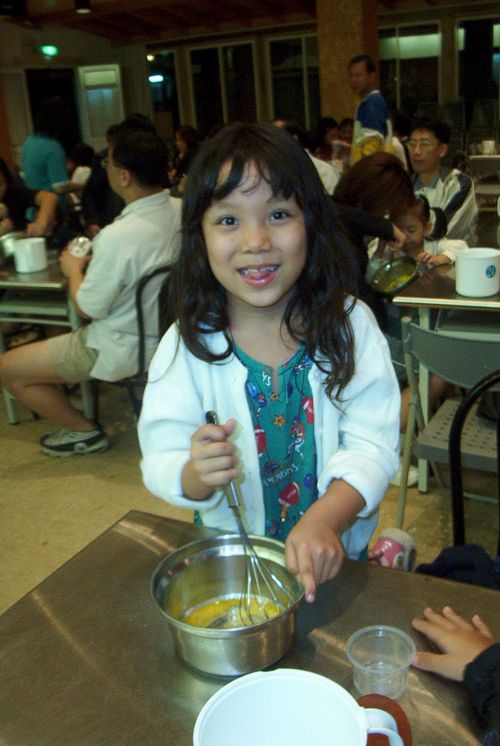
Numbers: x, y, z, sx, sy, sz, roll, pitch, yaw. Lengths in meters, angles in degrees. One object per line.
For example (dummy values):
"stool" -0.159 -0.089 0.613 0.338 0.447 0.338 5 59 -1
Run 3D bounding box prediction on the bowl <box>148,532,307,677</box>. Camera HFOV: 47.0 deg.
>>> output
"bowl" -0.018 0.228 0.565 0.135 0.069 0.140 -2 16 1

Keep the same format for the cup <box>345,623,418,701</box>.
"cup" 0.118 0.260 0.513 0.061 0.042 0.061 -5 9 1

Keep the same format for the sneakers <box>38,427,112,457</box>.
"sneakers" -0.753 0.289 2.443 0.235 0.113 0.125 0 24 -12

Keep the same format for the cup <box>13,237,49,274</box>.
"cup" -0.957 -0.515 2.511 0.157 0.170 0.158 0 12 0

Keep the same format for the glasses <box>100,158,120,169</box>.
"glasses" -0.481 -0.725 1.975 0.057 0.021 0.058 5 35 -3
